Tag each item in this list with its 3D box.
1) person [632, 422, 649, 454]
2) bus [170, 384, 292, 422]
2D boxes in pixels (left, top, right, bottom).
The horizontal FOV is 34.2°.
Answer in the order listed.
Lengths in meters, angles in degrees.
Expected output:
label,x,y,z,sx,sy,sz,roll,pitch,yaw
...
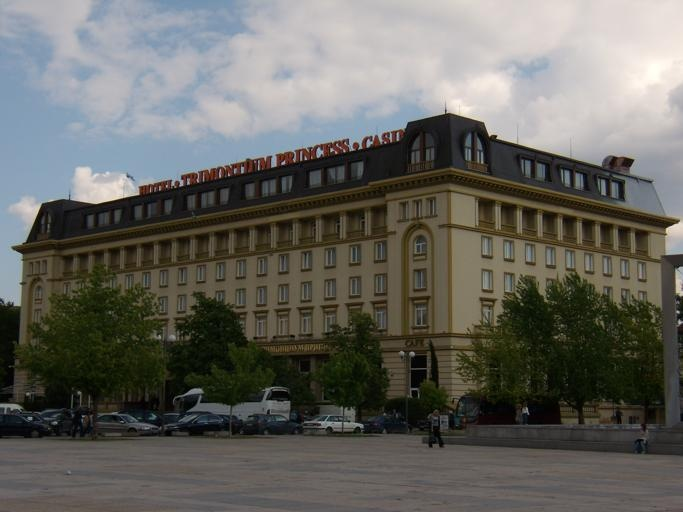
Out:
label,x,y,z,sx,sy,sz,roll,pitch,yaw
person,15.434,9.320,56.928,0.716,1.524,1.663,-3,-15,14
bus,-10.165,12.200,91.279,8.368,2.662,2.303,2,-6,-21
